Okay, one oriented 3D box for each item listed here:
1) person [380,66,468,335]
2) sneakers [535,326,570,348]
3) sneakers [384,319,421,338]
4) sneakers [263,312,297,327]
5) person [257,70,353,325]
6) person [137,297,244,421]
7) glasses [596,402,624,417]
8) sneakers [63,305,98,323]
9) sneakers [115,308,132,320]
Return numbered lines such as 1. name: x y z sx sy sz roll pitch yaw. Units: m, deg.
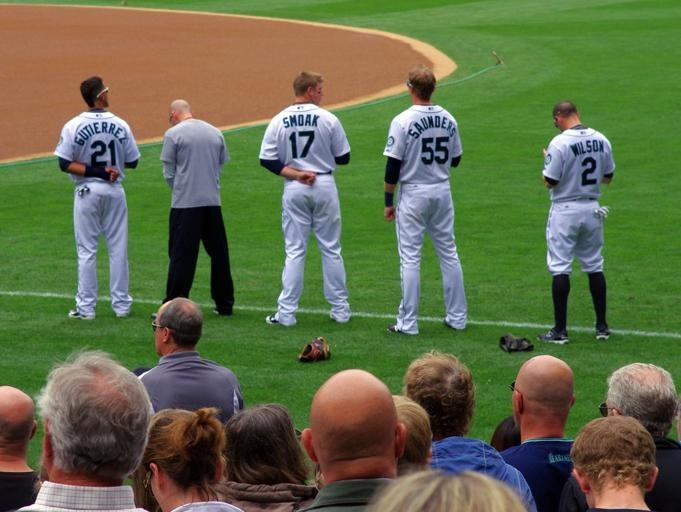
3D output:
1. person: 1.093 -0.686 20.506 1.134 3.464 0.581 2 -1 -7
2. sneakers: 2.753 1.062 20.295 0.448 0.166 0.174 4 6 22
3. sneakers: 0.795 0.990 20.507 0.462 0.164 0.152 8 0 2
4. sneakers: -0.819 0.853 20.763 0.433 0.151 0.164 7 7 26
5. person: -0.476 -0.733 20.764 1.270 3.371 0.582 2 -1 -10
6. person: -1.788 1.272 18.412 1.558 1.063 0.803 -4 6 -18
7. glasses: 2.980 1.734 17.414 0.240 0.058 0.213 3 3 -7
8. sneakers: -3.482 0.804 20.870 0.354 0.131 0.153 8 8 18
9. sneakers: -2.927 0.784 20.952 0.159 0.116 0.139 0 -7 -9
